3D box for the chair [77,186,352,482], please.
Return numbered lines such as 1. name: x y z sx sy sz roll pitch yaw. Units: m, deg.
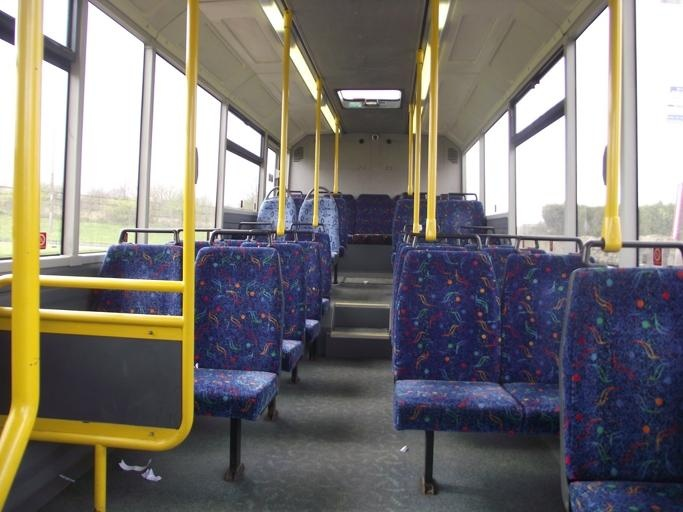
1. chair: -0.724 0.360 3.447 0.852 1.101 1.580 0 -1 2
